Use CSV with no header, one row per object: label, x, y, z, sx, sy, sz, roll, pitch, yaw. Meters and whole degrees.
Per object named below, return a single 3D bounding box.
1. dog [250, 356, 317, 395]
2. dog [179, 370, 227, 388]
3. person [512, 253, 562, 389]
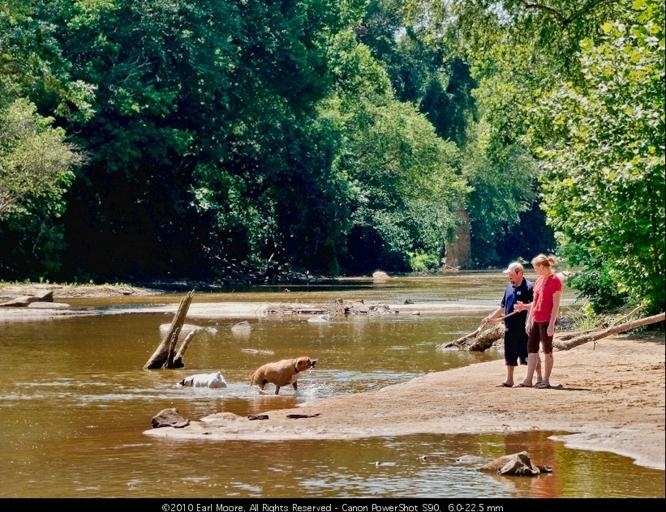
dog,-1.185,2.894,30.525,1.662,0.950,0.503,-6,4,19
dog,-3.078,2.962,31.036,1.157,0.303,0.559,1,6,8
person,4.794,1.479,29.898,0.809,3.027,1.115,1,7,10
